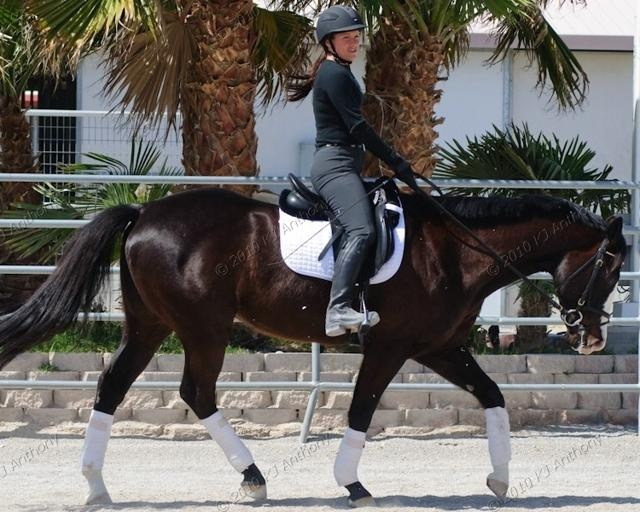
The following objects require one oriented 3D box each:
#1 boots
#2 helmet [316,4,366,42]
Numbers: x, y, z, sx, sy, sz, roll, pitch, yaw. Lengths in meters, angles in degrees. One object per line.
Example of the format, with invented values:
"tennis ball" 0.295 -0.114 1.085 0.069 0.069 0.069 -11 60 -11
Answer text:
"boots" 0.260 0.272 10.421 0.419 0.835 0.339 1 10 0
"helmet" 0.160 -1.904 10.746 0.264 0.243 0.344 -16 18 -38
